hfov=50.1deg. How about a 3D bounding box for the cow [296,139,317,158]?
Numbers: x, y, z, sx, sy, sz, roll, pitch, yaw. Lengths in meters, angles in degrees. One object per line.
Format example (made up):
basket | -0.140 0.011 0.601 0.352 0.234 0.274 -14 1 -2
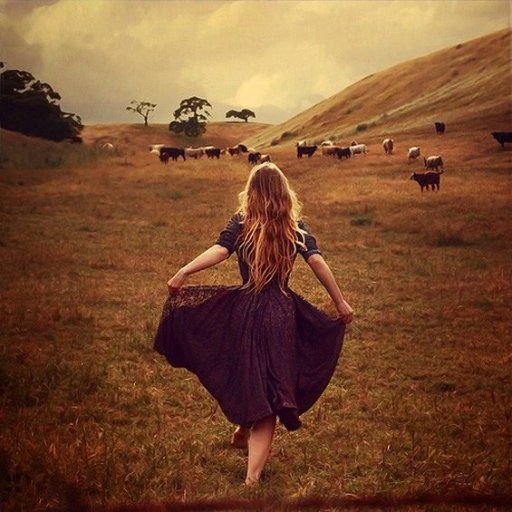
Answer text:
cow | 0.870 -1.851 9.504 0.466 0.297 0.172 0 0 2

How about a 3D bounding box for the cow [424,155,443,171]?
cow | 2.732 -1.420 8.411 0.320 0.238 0.182 5 8 28

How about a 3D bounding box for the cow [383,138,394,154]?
cow | 2.169 -1.792 8.961 0.171 0.275 0.125 2 7 5

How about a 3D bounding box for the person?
person | 0.016 0.436 3.935 1.307 2.194 0.721 -1 7 -22

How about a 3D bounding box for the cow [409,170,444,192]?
cow | 2.590 -1.133 8.230 0.504 0.382 0.184 1 -5 26
